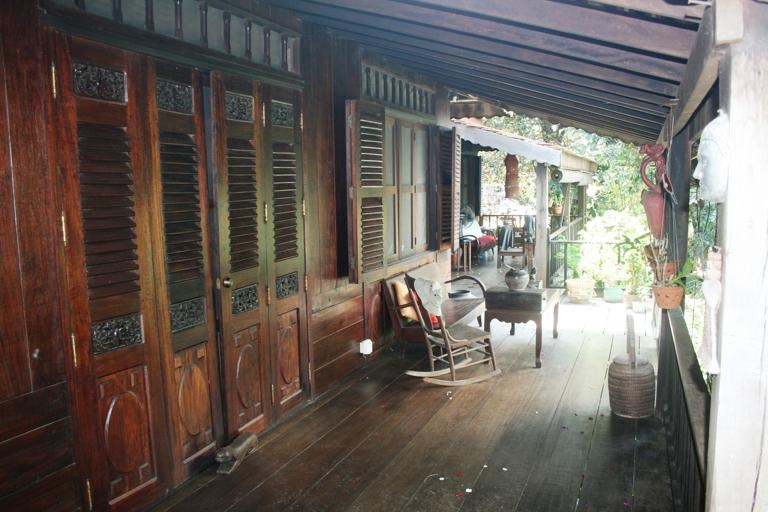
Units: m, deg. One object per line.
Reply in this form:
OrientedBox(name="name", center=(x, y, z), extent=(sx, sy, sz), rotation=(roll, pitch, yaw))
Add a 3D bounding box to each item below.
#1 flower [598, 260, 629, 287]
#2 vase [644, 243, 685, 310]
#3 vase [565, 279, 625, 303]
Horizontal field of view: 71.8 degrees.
OrientedBox(name="flower", center=(4.398, 0.344, 10.148), extent=(0.461, 0.507, 0.417), rotation=(-10, 16, 43))
OrientedBox(name="vase", center=(2.183, 0.190, 4.158), extent=(0.290, 0.556, 0.520), rotation=(5, 13, 27))
OrientedBox(name="vase", center=(3.901, 0.640, 9.900), extent=(0.730, 0.301, 0.498), rotation=(-2, 8, 9))
